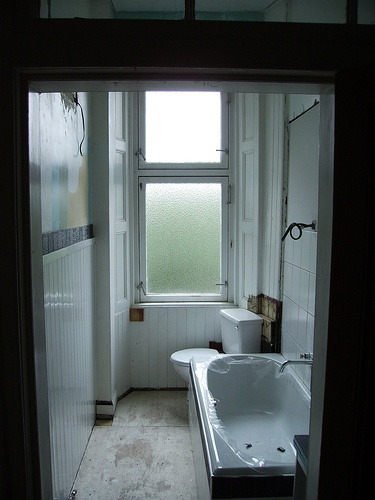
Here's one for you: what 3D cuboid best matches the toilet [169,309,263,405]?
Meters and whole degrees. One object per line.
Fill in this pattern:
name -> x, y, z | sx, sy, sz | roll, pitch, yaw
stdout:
toilet -> 0.208, 0.948, 3.153 | 0.646, 1.009, 0.550 | 7, 0, -14
